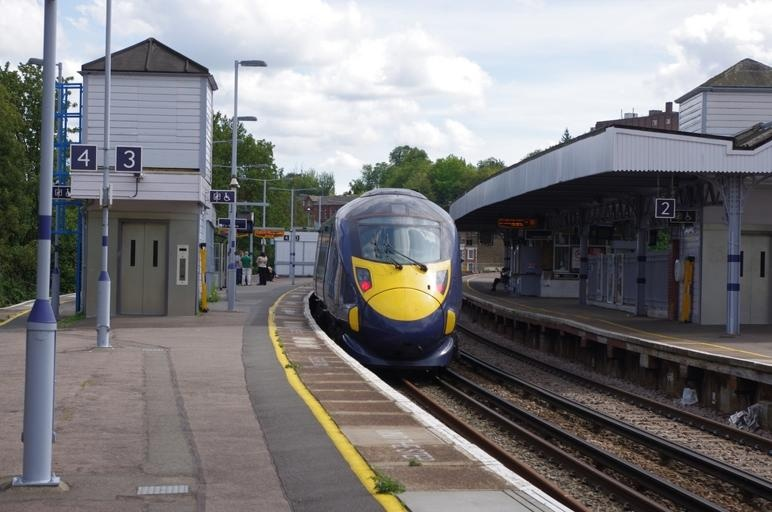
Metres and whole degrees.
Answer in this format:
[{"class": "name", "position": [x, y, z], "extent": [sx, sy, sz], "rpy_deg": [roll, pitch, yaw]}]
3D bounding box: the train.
[{"class": "train", "position": [0.010, 0.505, 22.028], "extent": [2.877, 4.932, 4.622], "rpy_deg": [0, 2, -18]}]
